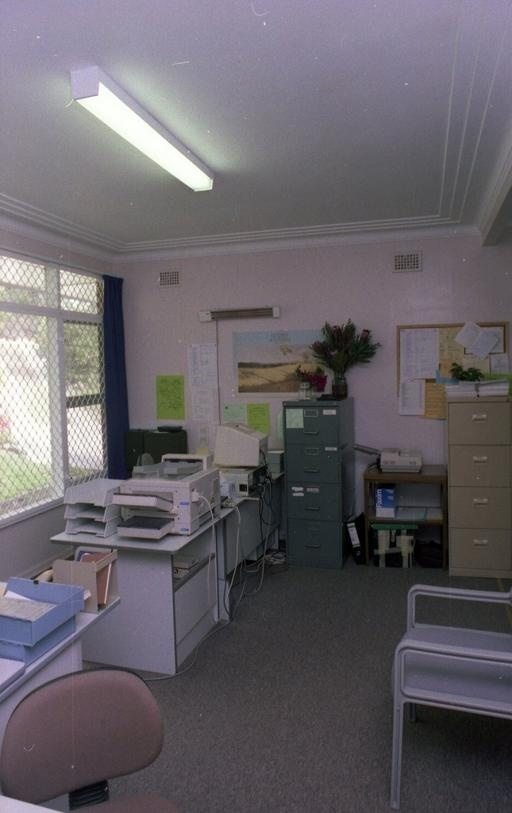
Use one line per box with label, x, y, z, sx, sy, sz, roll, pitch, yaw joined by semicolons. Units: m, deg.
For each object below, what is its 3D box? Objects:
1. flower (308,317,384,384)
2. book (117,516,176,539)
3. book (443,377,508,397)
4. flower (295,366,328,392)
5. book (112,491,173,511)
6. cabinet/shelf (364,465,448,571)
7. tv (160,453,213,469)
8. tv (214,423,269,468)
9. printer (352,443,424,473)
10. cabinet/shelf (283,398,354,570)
flower;0.732;-0.507;4.658;0.442;0.512;0.440;6;23;36
book;-0.563;0.611;2.878;0.273;0.093;0.193;0;4;20
book;1.458;-0.116;3.830;0.395;0.118;0.088;0;4;21
flower;0.436;-0.183;4.630;0.175;0.233;0.203;8;-5;7
book;-0.558;0.482;2.859;0.251;0.106;0.177;0;4;19
cabinet/shelf;1.150;0.719;4.382;0.696;0.892;0.601;-1;-1;14
tv;-0.411;0.314;3.439;0.270;0.061;0.479;-2;4;-9
tv;-0.113;0.272;4.156;0.326;0.287;0.393;0;4;8
printer;0.993;0.349;4.269;0.355;0.163;0.233;-1;5;13
cabinet/shelf;0.503;0.559;4.340;0.592;1.225;0.408;-2;3;-12
